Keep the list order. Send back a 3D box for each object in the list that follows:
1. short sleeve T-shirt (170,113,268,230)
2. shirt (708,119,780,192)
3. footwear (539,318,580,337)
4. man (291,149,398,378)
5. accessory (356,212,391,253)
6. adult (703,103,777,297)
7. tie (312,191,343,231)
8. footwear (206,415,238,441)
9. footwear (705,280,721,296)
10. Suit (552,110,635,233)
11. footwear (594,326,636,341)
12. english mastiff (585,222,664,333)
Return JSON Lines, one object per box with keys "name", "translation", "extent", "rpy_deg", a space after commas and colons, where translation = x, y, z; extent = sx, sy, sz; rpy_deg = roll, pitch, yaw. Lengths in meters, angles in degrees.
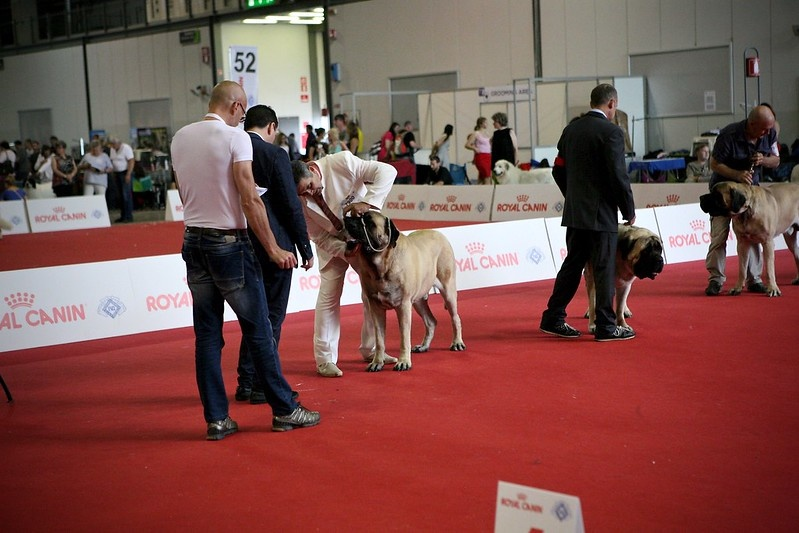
{"name": "short sleeve T-shirt", "translation": [-1.465, -0.736, 4.812], "extent": [0.671, 0.898, 0.250], "rpy_deg": [1, 10, 23]}
{"name": "shirt", "translation": [4.585, -1.570, 8.245], "extent": [0.792, 0.720, 0.379], "rpy_deg": [0, 10, 17]}
{"name": "footwear", "translation": [1.832, 0.716, 7.149], "extent": [0.517, 0.274, 0.195], "rpy_deg": [1, 5, 9]}
{"name": "man", "translation": [-0.582, 0.024, 6.358], "extent": [1.012, 2.444, 0.987], "rpy_deg": [-7, 21, -19]}
{"name": "accessory", "translation": [-0.263, -0.308, 5.812], "extent": [0.229, 0.392, 0.129], "rpy_deg": [0, -5, -20]}
{"name": "adult", "translation": [4.697, -0.930, 8.536], "extent": [0.768, 2.766, 0.814], "rpy_deg": [8, 28, 31]}
{"name": "tie", "translation": [-0.694, -0.561, 6.020], "extent": [0.076, 0.407, 0.048], "rpy_deg": [-41, 15, -28]}
{"name": "footwear", "translation": [-1.429, 1.314, 5.077], "extent": [0.101, 0.160, 0.304], "rpy_deg": [2, 7, 28]}
{"name": "footwear", "translation": [4.346, 0.297, 8.571], "extent": [0.106, 0.363, 0.135], "rpy_deg": [1, 7, 11]}
{"name": "Suit", "translation": [2.131, -1.060, 6.824], "extent": [0.864, 1.327, 0.468], "rpy_deg": [3, 11, 30]}
{"name": "footwear", "translation": [2.400, 0.746, 6.899], "extent": [0.432, 0.207, 0.188], "rpy_deg": [-6, 9, -12]}
{"name": "english mastiff", "translation": [2.601, 0.116, 7.482], "extent": [0.414, 1.139, 1.708], "rpy_deg": [9, 4, -6]}
